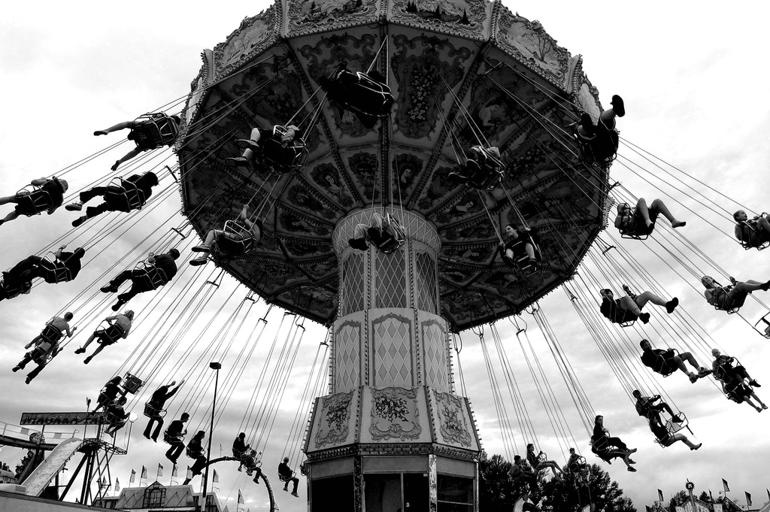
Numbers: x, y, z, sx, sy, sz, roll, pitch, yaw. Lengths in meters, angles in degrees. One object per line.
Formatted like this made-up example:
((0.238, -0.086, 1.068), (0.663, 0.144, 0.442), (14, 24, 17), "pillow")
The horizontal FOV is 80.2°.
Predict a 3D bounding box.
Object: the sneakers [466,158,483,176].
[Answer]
((1.847, -1.826, 9.413), (0.272, 0.174, 0.308), (-11, -42, 12), "sneakers")

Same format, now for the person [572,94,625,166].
((4.275, -2.534, 9.163), (0.835, 0.971, 1.515), (-17, -44, 18), "person")

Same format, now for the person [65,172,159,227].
((-5.627, -1.316, 9.879), (2.217, 0.792, 0.801), (-6, -47, 51), "person")

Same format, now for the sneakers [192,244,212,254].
((-3.324, -0.119, 8.334), (0.350, 0.145, 0.122), (6, -65, -19), "sneakers")

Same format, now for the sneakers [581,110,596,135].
((4.079, -2.583, 9.087), (0.202, 0.594, 0.249), (-6, -34, 3), "sneakers")

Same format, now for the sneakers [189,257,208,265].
((-3.388, 0.103, 8.325), (0.173, 0.154, 0.435), (7, 2, 25), "sneakers")

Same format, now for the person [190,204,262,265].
((-3.374, -0.591, 10.173), (1.057, 1.754, 0.667), (28, -28, -17), "person")

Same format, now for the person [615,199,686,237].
((5.319, -0.874, 9.425), (0.672, 0.873, 1.404), (3, -10, -11), "person")

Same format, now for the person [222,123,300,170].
((-2.677, -2.415, 10.013), (1.061, 1.443, 0.724), (11, -80, -1), "person")

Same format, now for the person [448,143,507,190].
((1.933, -1.825, 9.766), (1.182, 0.574, 0.909), (-5, -61, 37), "person")
